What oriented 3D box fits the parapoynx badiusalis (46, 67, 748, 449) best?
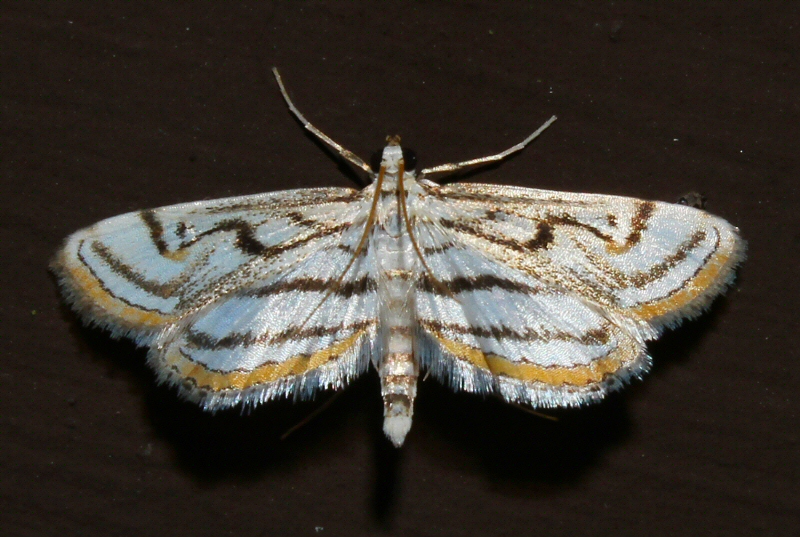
[{"bbox_3d":[-0.015,-0.035,3.967,2.668,0.344,1.296,-2,88,1],"label":"parapoynx badiusalis"}]
